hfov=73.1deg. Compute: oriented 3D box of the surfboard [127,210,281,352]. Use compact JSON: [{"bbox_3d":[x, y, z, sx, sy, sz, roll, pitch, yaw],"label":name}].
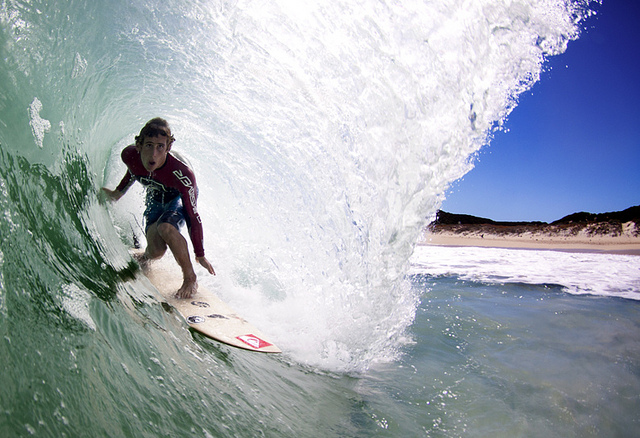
[{"bbox_3d":[-1.117,0.628,4.240,2.147,0.249,0.364,33,32,32],"label":"surfboard"}]
